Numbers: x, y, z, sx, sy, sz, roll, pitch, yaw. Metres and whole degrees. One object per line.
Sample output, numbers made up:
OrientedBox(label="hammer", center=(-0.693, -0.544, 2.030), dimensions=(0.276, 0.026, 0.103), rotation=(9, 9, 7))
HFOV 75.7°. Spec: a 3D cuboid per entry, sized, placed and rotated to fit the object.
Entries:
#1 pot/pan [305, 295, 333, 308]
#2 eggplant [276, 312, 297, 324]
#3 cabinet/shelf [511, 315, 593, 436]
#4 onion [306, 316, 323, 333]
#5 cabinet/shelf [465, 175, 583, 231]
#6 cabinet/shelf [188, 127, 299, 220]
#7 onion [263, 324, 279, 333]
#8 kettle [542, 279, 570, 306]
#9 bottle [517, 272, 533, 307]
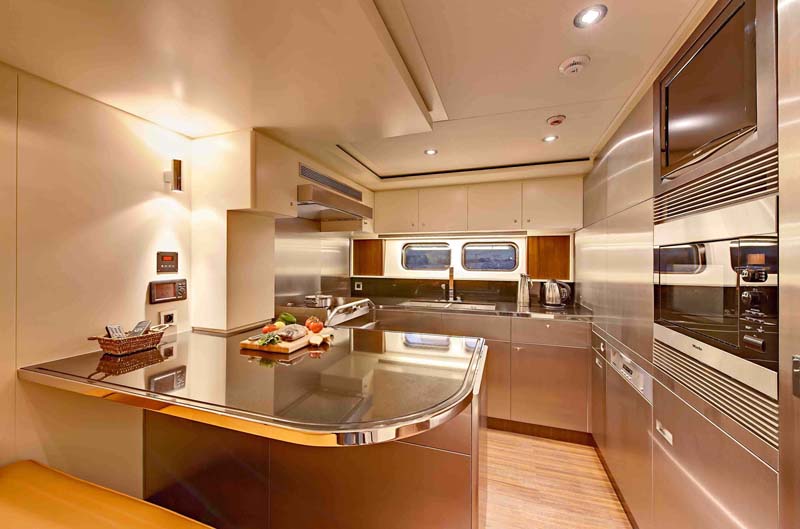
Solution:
OrientedBox(label="pot/pan", center=(-0.720, 0.329, 4.685), dimensions=(0.138, 0.063, 0.177), rotation=(1, 2, 12))
OrientedBox(label="eggplant", center=(-0.837, 0.394, 3.778), dimensions=(0.127, 0.070, 0.093), rotation=(12, 10, -7))
OrientedBox(label="cabinet/shelf", center=(1.353, 0.863, 4.741), dimensions=(0.669, 0.900, 0.598), rotation=(3, 13, 22))
OrientedBox(label="onion", center=(-0.609, 0.425, 3.674), dimensions=(0.105, 0.106, 0.106), rotation=(-2, 1, 19))
OrientedBox(label="cabinet/shelf", center=(1.238, -0.574, 4.897), dimensions=(0.874, 0.430, 0.504), rotation=(1, 1, 26))
OrientedBox(label="cabinet/shelf", center=(-1.139, -0.622, 3.809), dimensions=(0.588, 0.473, 0.636), rotation=(1, 0, 19))
OrientedBox(label="onion", center=(-0.887, 0.434, 3.543), dimensions=(0.089, 0.088, 0.089), rotation=(3, 3, -4))
OrientedBox(label="kettle", center=(1.545, 0.279, 4.976), dimensions=(0.294, 0.304, 0.178), rotation=(2, 2, 28))
OrientedBox(label="bottle", center=(1.198, 0.250, 5.021), dimensions=(0.124, 0.306, 0.226), rotation=(-1, -1, 11))
